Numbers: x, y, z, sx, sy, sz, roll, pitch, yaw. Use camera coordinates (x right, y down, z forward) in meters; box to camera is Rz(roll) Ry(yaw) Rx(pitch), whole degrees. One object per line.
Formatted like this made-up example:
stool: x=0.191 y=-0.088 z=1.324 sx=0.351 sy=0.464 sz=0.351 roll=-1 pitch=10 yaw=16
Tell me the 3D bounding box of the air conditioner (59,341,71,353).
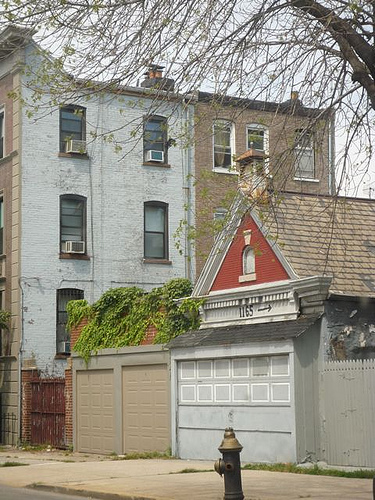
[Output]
air conditioner: x=-3.450 y=2.712 z=32.976 sx=0.291 sy=0.316 sz=0.219 roll=9 pitch=-12 yaw=-41
